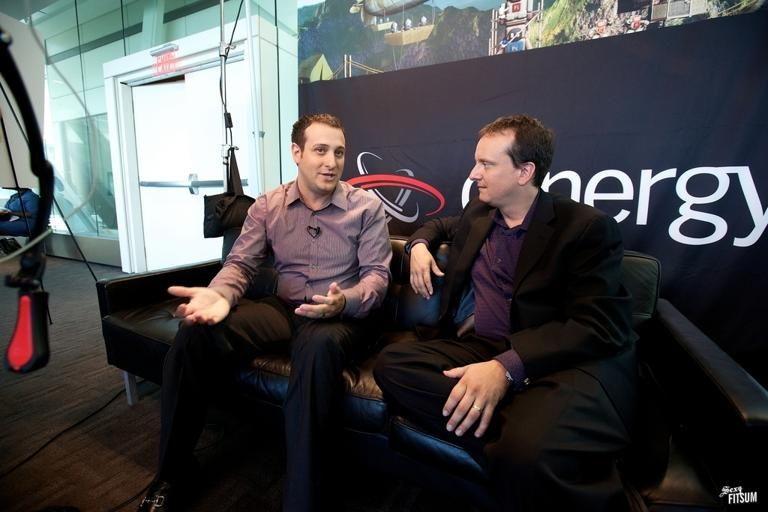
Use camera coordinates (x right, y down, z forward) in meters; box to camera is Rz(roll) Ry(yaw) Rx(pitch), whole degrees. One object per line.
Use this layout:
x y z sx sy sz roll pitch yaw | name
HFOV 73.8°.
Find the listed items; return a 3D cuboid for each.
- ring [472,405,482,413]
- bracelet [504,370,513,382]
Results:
0.422 0.698 2.330 0.042 0.031 0.015 2 15 4 | ring
0.581 0.563 2.388 0.047 0.034 0.015 42 -6 -4 | bracelet
